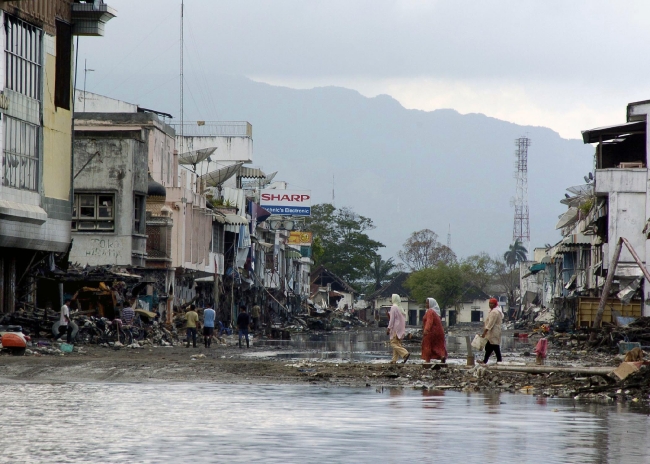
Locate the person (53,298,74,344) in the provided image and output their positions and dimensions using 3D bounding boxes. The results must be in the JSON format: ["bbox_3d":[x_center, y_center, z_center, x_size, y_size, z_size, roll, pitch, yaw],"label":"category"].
[{"bbox_3d":[-9.839,3.528,53.239,0.590,1.603,2.198,3,-8,-11],"label":"person"}]

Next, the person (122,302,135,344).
[{"bbox_3d":[-7.871,3.698,56.156,0.618,0.963,1.495,2,31,-4],"label":"person"}]

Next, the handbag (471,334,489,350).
[{"bbox_3d":[4.947,3.660,45.058,0.544,0.633,0.441,20,-6,2],"label":"handbag"}]
